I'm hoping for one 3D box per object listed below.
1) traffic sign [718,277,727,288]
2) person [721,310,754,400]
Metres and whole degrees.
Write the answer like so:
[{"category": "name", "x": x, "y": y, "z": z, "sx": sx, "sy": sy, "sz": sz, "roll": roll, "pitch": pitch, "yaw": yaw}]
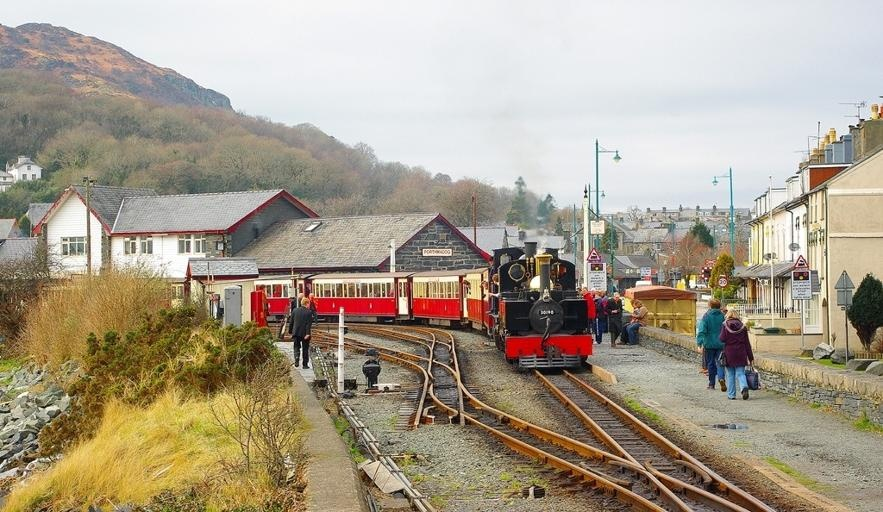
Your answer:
[{"category": "traffic sign", "x": 18.906, "y": 1.860, "z": 57.761, "sx": 0.754, "sy": 0.777, "sz": 0.252, "roll": -8, "pitch": 6, "yaw": 6}, {"category": "person", "x": 8.779, "y": 2.925, "z": 25.700, "sx": 0.862, "sy": 2.757, "sz": 1.135, "roll": -1, "pitch": -2, "yaw": 19}]
